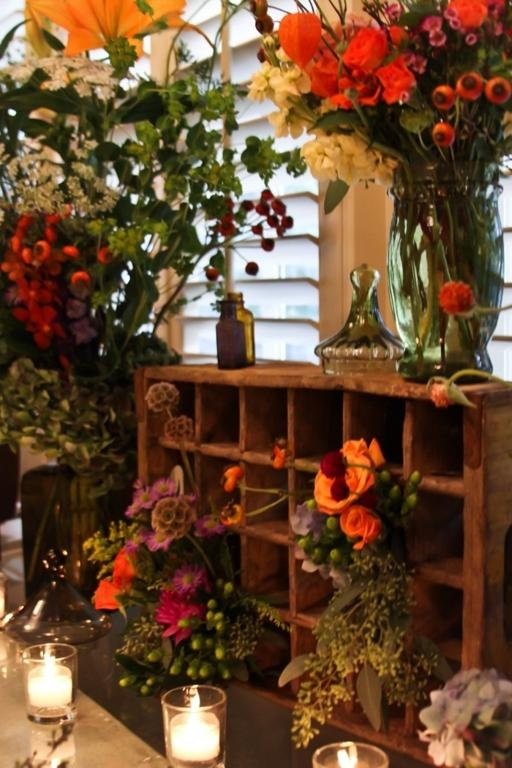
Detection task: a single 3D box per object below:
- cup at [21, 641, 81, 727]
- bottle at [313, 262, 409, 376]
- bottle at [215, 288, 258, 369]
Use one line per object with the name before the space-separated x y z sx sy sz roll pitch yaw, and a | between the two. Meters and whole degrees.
cup | -0.287 0.430 0.948 0.091 0.108 0.093 -2 -1 0
bottle | 0.131 -0.084 0.925 0.138 0.160 0.140 1 -10 0
bottle | -0.034 -0.086 1.052 0.053 0.129 0.092 -1 -3 6
